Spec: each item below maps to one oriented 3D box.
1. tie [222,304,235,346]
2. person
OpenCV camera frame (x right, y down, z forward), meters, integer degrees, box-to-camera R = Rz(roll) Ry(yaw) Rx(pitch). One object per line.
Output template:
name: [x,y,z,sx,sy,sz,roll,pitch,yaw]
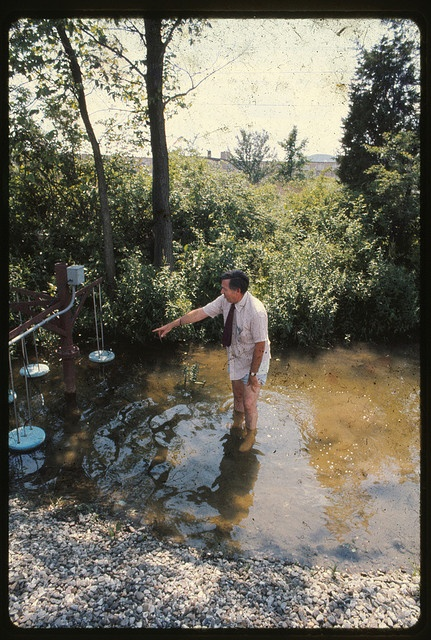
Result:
tie: [0.110,0.062,5.266,0.104,0.438,0.242,-4,6,-18]
person: [0.063,0.366,5.414,0.983,1.833,0.803,13,25,27]
